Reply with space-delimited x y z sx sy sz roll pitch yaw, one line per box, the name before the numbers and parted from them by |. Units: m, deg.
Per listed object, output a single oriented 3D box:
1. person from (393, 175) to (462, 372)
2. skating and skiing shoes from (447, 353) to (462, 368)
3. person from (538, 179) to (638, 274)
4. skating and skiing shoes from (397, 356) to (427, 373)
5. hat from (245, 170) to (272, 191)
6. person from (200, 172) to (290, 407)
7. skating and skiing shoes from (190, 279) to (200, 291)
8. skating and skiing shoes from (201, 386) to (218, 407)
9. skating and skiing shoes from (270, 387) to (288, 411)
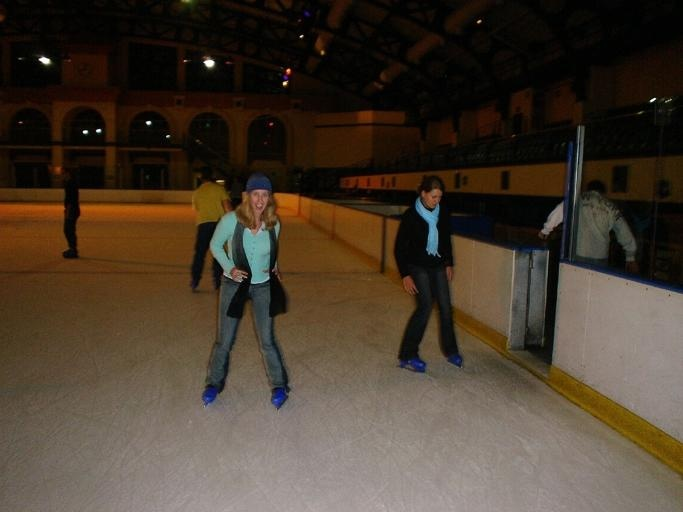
person | 0.909 0.199 5.311 0.718 2.046 0.398 2 9 2
skating and skiing shoes | 1.219 1.120 5.460 0.102 0.134 0.188 -2 -2 -21
person | 2.641 -0.318 5.251 0.923 0.924 0.524 -4 10 -28
skating and skiing shoes | 0.761 1.143 5.400 0.343 0.167 0.121 -1 -3 37
hat | -0.682 -0.608 4.190 0.213 0.157 0.200 0 9 -11
person | -0.818 0.304 4.441 0.730 2.033 0.484 2 9 8
skating and skiing shoes | -2.525 0.489 8.784 0.057 0.180 0.117 12 30 -5
skating and skiing shoes | -1.158 1.228 4.460 0.133 0.178 0.053 29 -31 -7
skating and skiing shoes | -0.541 1.262 4.486 0.117 0.207 0.062 6 -27 4
